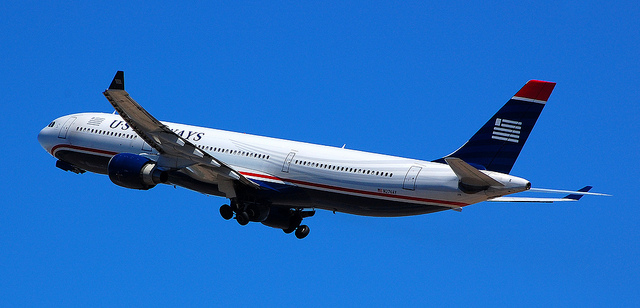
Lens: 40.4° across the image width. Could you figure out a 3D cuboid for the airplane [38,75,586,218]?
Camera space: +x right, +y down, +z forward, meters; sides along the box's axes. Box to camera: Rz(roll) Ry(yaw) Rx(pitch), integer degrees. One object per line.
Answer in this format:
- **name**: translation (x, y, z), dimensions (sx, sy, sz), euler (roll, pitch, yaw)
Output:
- **airplane**: translation (-1.340, 0.096, 42.992), dimensions (24.250, 5.872, 6.081), euler (-1, -55, 9)
